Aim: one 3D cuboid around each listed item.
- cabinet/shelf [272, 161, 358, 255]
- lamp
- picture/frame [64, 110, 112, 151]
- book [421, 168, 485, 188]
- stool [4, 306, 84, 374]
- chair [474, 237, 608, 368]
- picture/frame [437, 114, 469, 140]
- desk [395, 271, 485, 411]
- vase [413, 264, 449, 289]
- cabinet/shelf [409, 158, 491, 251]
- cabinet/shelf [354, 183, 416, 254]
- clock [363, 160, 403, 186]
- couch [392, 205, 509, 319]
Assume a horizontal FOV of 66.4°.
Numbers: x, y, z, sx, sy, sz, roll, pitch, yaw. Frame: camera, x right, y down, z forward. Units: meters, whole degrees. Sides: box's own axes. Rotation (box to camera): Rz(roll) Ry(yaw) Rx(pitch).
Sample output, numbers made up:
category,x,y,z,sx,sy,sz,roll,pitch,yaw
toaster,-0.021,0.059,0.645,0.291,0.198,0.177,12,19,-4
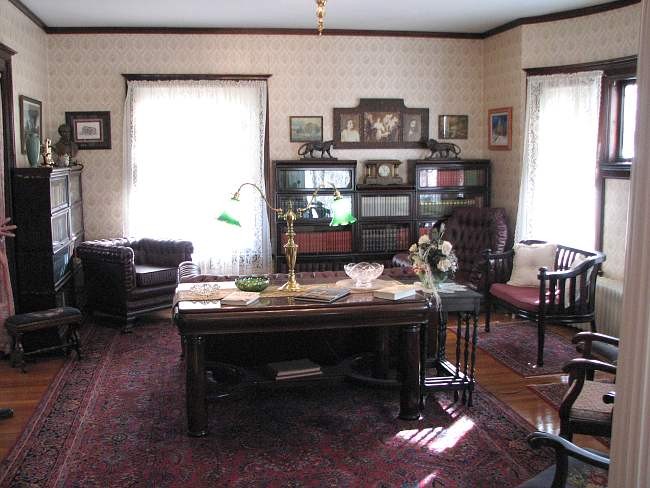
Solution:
category,x,y,z,sx,sy,sz,roll,pitch,yaw
cabinet/shelf,-0.174,-0.574,7.375,1.562,1.961,0.639,-1,6,-5
lamp,-0.497,-0.162,6.819,1.667,1.215,0.374,-1,3,-11
picture/frame,-3.782,-1.809,7.806,0.778,0.711,0.055,0,5,-8
book,2.083,-1.091,8.160,1.142,0.309,0.131,-2,10,-13
stool,-3.314,0.926,5.768,0.628,0.702,0.979,5,7,44
chair,2.765,0.555,6.378,1.342,1.368,2.030,-3,5,-15
picture/frame,2.157,-2.010,8.469,0.485,0.364,0.045,0,3,-9
desk,1.032,0.950,4.915,0.674,0.973,0.852,2,3,-14
vase,0.965,0.312,4.659,0.269,0.189,0.257,0,1,-5
cabinet/shelf,1.923,-0.620,7.773,1.607,1.440,0.537,-1,5,-9
cabinet/shelf,0.929,-0.429,8.002,1.234,1.271,0.458,0,5,-8
clock,0.948,-1.169,8.134,0.600,0.390,0.300,1,10,5
couch,2.361,0.109,7.958,1.653,1.766,1.419,-2,6,-33
